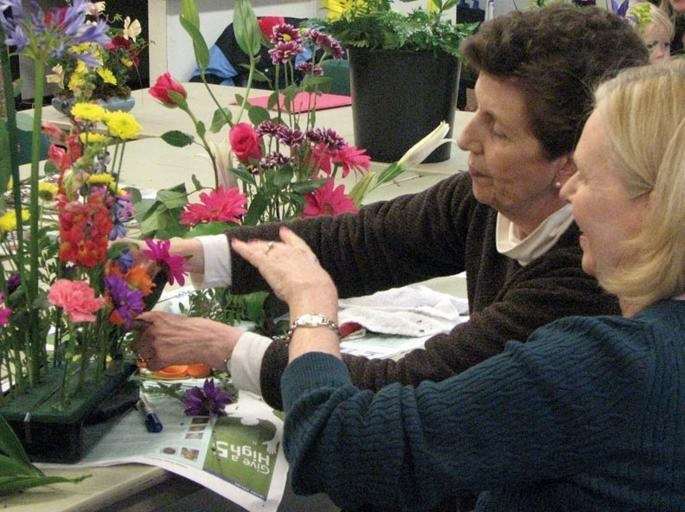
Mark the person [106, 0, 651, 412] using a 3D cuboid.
[{"bbox_3d":[0.043,-0.161,1.176,0.772,0.754,0.564,5,23,3],"label":"person"}]

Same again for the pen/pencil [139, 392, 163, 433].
[{"bbox_3d":[-0.291,0.234,0.908,0.029,0.024,0.093,33,5,-30],"label":"pen/pencil"}]

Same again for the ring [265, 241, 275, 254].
[{"bbox_3d":[-0.127,-0.016,1.071,0.015,0.017,0.018,-43,-10,35],"label":"ring"}]

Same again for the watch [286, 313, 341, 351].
[{"bbox_3d":[-0.043,0.107,0.839,0.055,0.039,0.051,0,-14,-1],"label":"watch"}]
